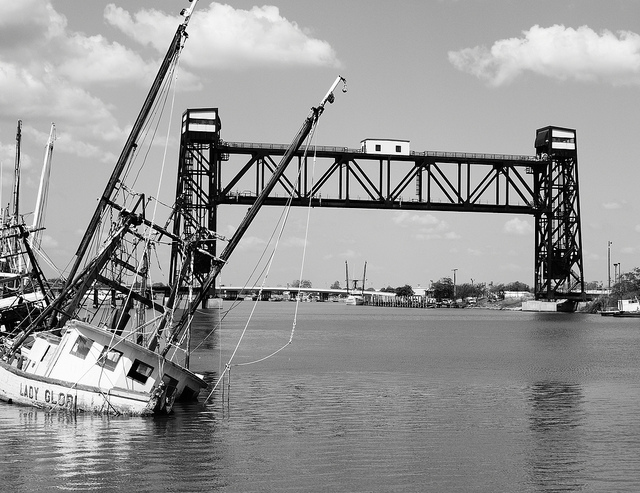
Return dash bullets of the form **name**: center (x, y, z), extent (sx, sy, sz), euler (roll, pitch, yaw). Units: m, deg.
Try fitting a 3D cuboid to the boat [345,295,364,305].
- **boat**: center (11.261, 16.978, 294.007), extent (2.566, 2.626, 9.419), euler (-1, -8, -2)
